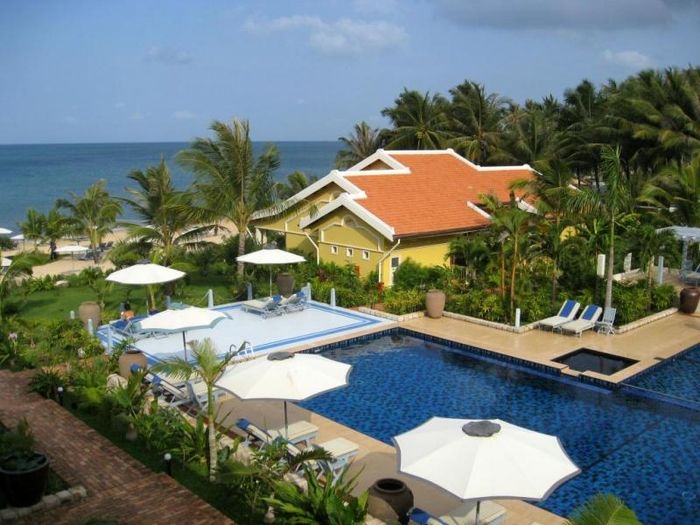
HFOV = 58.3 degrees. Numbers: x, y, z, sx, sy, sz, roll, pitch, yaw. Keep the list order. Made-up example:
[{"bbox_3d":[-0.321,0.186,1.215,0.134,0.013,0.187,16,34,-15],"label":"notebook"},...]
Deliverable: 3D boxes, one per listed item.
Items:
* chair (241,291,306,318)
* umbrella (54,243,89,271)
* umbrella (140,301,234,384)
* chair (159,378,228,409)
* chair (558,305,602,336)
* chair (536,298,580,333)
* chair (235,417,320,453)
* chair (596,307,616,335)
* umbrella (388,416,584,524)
[{"bbox_3d":[-3.275,1.778,27.354,2.668,0.925,1.290,-2,6,-14],"label":"chair"},{"bbox_3d":[-19.812,-0.370,44.415,1.711,1.361,1.891,7,7,19],"label":"umbrella"},{"bbox_3d":[-5.376,2.254,20.267,2.594,1.985,2.747,0,13,-1],"label":"umbrella"},{"bbox_3d":[-4.360,3.637,17.445,1.721,0.801,0.891,-13,25,-38],"label":"chair"},{"bbox_3d":[8.966,2.344,24.015,1.785,0.892,0.889,-11,14,-34],"label":"chair"},{"bbox_3d":[8.339,2.060,24.589,2.193,0.971,0.788,-14,17,-37],"label":"chair"},{"bbox_3d":[-1.724,4.314,15.476,1.730,0.717,0.909,-5,10,-25],"label":"chair"},{"bbox_3d":[9.887,2.218,24.119,0.793,1.134,0.594,-23,19,-34],"label":"chair"},{"bbox_3d":[2.559,4.624,12.872,2.378,1.739,2.466,-2,18,-2],"label":"umbrella"}]
